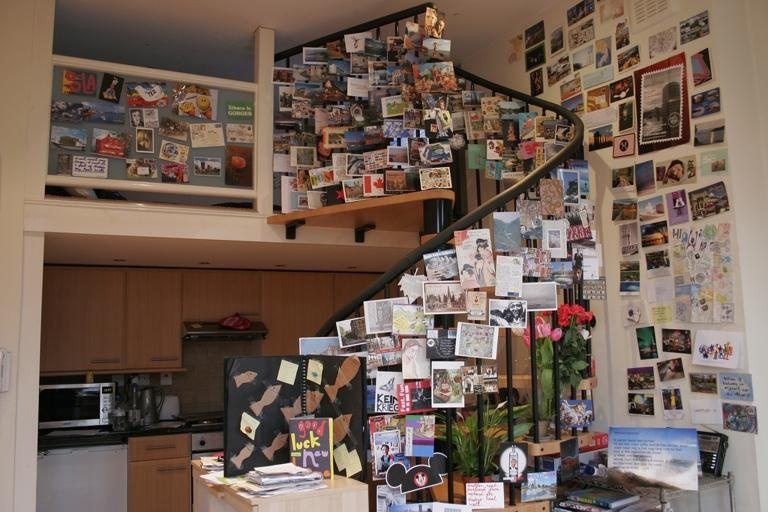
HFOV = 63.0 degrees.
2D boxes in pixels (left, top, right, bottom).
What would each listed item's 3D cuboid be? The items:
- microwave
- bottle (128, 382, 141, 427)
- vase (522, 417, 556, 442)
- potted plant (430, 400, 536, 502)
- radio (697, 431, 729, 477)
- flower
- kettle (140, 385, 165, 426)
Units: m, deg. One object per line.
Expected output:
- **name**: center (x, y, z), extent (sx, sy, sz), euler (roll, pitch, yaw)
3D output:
- **microwave**: center (-3.130, 1.526, 6.488), extent (0.716, 0.445, 0.382), euler (0, -8, -12)
- **bottle**: center (-2.613, 1.556, 6.599), extent (0.112, 0.447, 0.396), euler (2, -14, -21)
- **vase**: center (1.073, 1.195, 4.304), extent (0.178, 0.079, 0.175), euler (-1, -6, 0)
- **potted plant**: center (0.650, 1.283, 4.203), extent (0.635, 0.424, 0.611), euler (4, -10, -29)
- **radio**: center (2.279, 1.377, 4.345), extent (0.258, 0.325, 0.167), euler (-4, -30, 33)
- **flower**: center (1.261, 0.742, 4.443), extent (0.490, 0.783, 0.511), euler (-5, -13, 8)
- **kettle**: center (-2.477, 1.574, 6.687), extent (0.227, 0.413, 0.296), euler (0, -13, -12)
